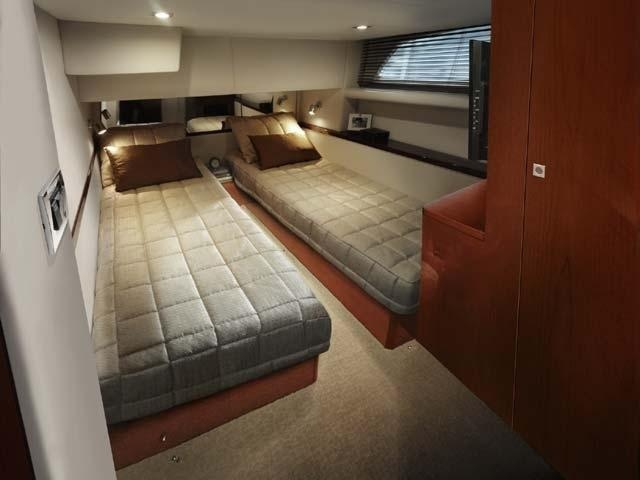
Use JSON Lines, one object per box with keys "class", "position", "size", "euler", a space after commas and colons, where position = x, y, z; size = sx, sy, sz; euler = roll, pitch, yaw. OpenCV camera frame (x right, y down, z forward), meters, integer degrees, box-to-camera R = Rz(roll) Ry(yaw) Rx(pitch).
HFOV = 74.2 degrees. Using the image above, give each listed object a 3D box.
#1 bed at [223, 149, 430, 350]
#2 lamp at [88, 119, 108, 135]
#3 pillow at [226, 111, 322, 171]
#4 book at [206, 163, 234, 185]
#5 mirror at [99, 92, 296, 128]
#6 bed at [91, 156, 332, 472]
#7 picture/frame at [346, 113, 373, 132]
{"class": "bed", "position": [0.084, 0.050, 2.679], "size": [0.516, 0.266, 1.286], "euler": [-8, 26, -26]}
{"class": "lamp", "position": [-1.735, -0.903, 3.316], "size": [0.107, 0.067, 0.205], "euler": [-1, 25, -14]}
{"class": "pillow", "position": [-0.398, -1.035, 4.285], "size": [0.708, 0.226, 0.775], "euler": [-16, 52, -21]}
{"class": "book", "position": [-0.970, -0.658, 4.142], "size": [0.224, 0.072, 0.235], "euler": [-6, 28, -20]}
{"class": "mirror", "position": [-1.136, -1.219, 3.881], "size": [1.592, 0.228, 0.146], "euler": [-18, 26, -35]}
{"class": "bed", "position": [-0.920, 0.157, 2.810], "size": [1.078, 0.541, 2.316], "euler": [-11, 30, -23]}
{"class": "picture/frame", "position": [0.391, -1.149, 4.049], "size": [0.023, 0.163, 0.214], "euler": [7, 10, -45]}
